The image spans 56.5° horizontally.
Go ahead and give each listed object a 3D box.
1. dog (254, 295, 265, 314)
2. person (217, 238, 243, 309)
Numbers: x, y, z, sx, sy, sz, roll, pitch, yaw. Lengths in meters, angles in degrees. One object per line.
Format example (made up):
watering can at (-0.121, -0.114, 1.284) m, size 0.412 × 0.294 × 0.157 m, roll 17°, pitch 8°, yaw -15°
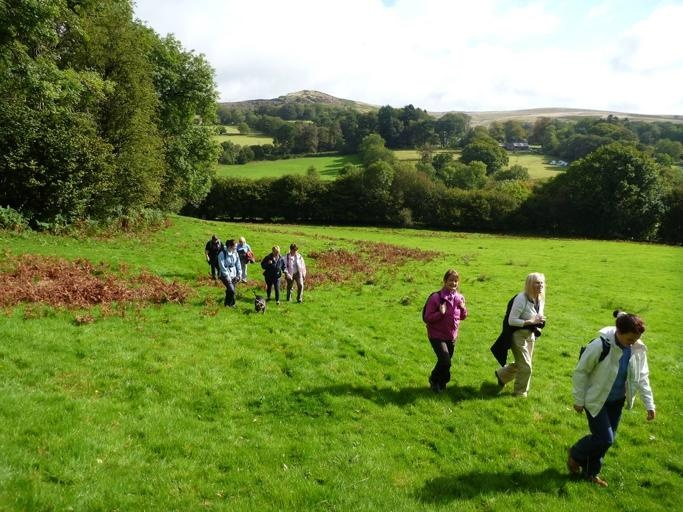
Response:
dog at (-4.125, 2.431, 31.844) m, size 0.574 × 0.693 × 0.748 m, roll 1°, pitch 9°, yaw -9°
person at (-5.633, 0.886, 31.548) m, size 0.795 × 3.437 × 1.115 m, roll 4°, pitch 9°, yaw 13°
